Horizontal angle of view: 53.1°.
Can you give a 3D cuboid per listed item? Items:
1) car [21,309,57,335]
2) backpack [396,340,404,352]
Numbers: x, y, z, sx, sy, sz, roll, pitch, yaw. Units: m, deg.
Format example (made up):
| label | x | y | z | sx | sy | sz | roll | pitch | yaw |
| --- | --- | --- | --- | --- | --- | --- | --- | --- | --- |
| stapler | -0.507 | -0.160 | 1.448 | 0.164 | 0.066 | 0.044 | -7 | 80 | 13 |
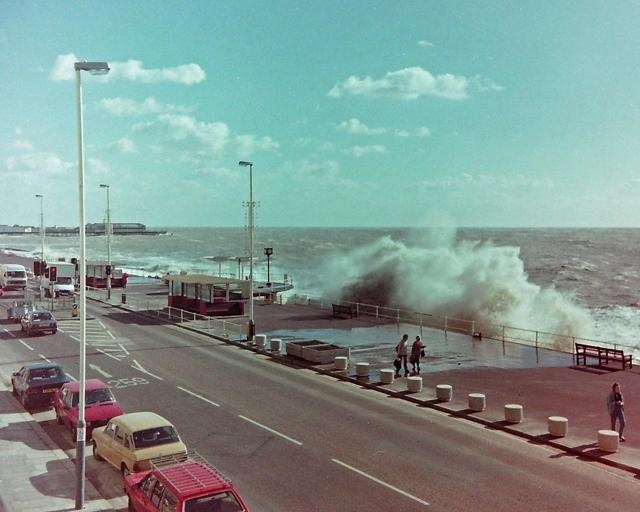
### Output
| label | x | y | z | sx | sy | sz | roll | pitch | yaw |
| --- | --- | --- | --- | --- | --- | --- | --- | --- | --- |
| car | -18.001 | 4.173 | 40.809 | 1.151 | 0.774 | 2.421 | -2 | 8 | -38 |
| backpack | 3.868 | 4.445 | 31.008 | 0.204 | 0.642 | 0.267 | 16 | 6 | 12 |
